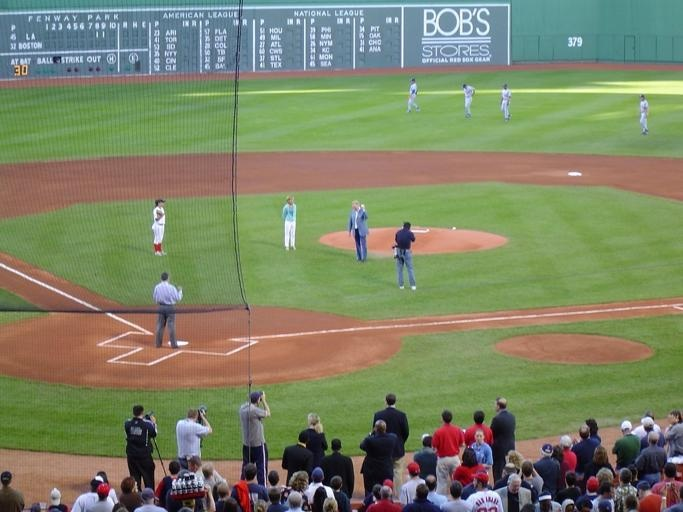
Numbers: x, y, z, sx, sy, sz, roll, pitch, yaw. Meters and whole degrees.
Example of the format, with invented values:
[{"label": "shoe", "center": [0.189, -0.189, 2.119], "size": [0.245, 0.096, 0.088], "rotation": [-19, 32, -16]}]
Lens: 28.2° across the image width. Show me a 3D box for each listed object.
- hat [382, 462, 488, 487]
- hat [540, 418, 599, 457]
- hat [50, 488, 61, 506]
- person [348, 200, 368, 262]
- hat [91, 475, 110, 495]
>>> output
[{"label": "hat", "center": [2.217, 4.874, 30.330], "size": [0.490, 0.381, 1.403], "rotation": [24, -12, -35]}, {"label": "hat", "center": [5.414, 4.303, 31.858], "size": [0.919, 0.584, 1.159], "rotation": [-6, -6, -9]}, {"label": "hat", "center": [-6.191, 5.218, 29.472], "size": [0.208, 0.441, 0.514], "rotation": [1, 14, -9]}, {"label": "person", "center": [0.624, -0.780, 43.547], "size": [0.607, 1.994, 0.870], "rotation": [3, 14, 1]}, {"label": "hat", "center": [-5.202, 5.004, 29.302], "size": [0.322, 0.248, 0.478], "rotation": [1, 16, -14]}]
